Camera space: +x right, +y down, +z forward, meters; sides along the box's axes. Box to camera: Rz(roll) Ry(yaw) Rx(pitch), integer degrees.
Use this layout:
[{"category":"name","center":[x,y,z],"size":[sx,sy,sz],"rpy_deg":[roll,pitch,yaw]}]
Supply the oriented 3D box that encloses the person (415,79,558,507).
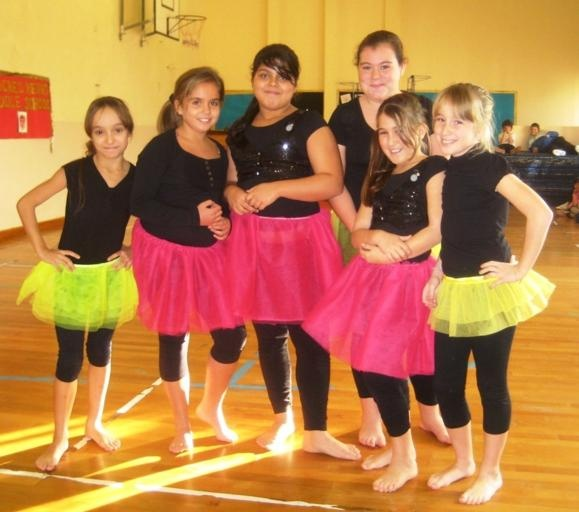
[{"category":"person","center":[0.678,0.134,1.842],"size":[0.423,1.453,0.301],"rpy_deg":[4,10,25]}]

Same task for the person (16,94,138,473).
[{"category":"person","center":[-0.858,0.089,2.141],"size":[0.493,1.463,0.317],"rpy_deg":[-3,9,-17]}]

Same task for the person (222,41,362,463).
[{"category":"person","center":[0.011,-0.008,2.102],"size":[0.564,1.679,0.381],"rpy_deg":[0,9,2]}]
